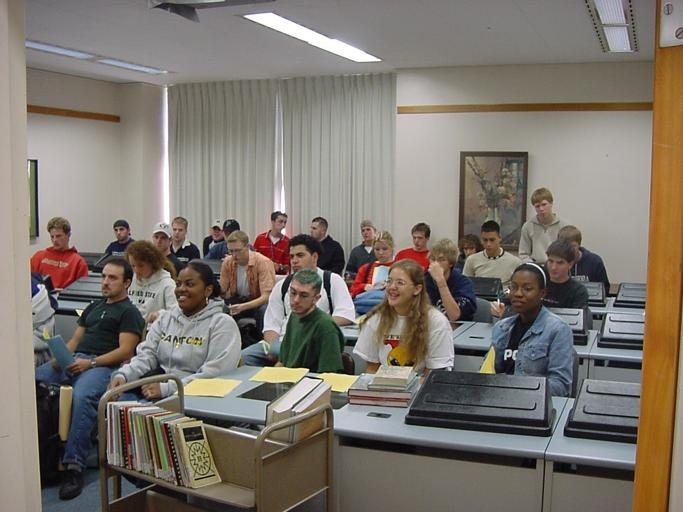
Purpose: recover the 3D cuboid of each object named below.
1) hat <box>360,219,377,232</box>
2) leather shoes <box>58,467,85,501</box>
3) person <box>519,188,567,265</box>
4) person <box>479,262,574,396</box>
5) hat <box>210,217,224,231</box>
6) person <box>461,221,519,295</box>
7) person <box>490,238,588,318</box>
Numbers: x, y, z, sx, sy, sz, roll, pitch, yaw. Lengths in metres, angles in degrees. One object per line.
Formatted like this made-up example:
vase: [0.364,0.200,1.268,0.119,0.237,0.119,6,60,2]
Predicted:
hat: [0.387,-0.445,7.739,0.142,0.179,0.202,-9,-18,5]
leather shoes: [-1.599,1.360,3.140,0.079,0.101,0.243,1,-6,-11]
person: [2.526,-0.298,6.595,0.558,1.050,0.588,3,-5,12]
person: [1.058,0.461,3.091,0.422,0.813,0.465,-10,12,-43]
hat: [-2.065,-0.525,8.773,0.181,0.171,0.281,3,-10,-4]
person: [1.672,0.025,5.896,0.759,1.103,0.376,2,4,32]
person: [1.679,0.201,4.733,0.635,1.065,0.733,4,-1,-36]
